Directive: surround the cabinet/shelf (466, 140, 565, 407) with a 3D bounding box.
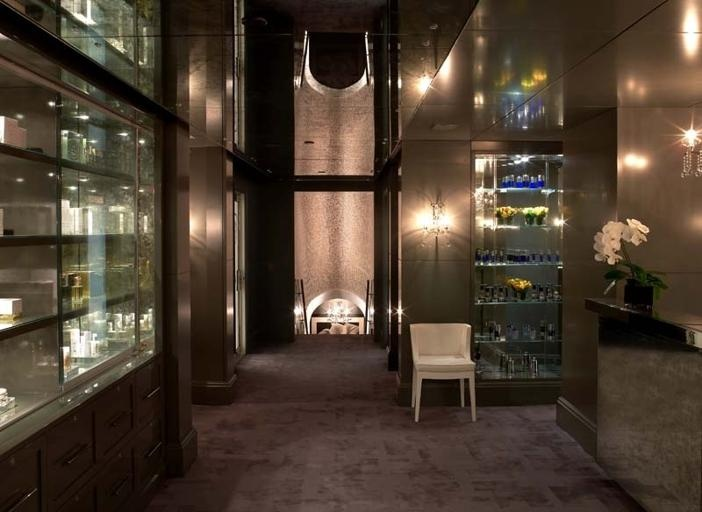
[{"bbox_3d":[1.891,0.157,6.566,1.045,2.886,0.582,0,6,4],"label":"cabinet/shelf"}]

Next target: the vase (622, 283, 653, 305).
[{"bbox_3d":[2.201,0.291,4.463,0.252,0.198,0.149,-1,-4,15],"label":"vase"}]

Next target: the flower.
[{"bbox_3d":[2.141,0.018,4.447,0.425,0.537,0.384,-4,-8,43],"label":"flower"}]
